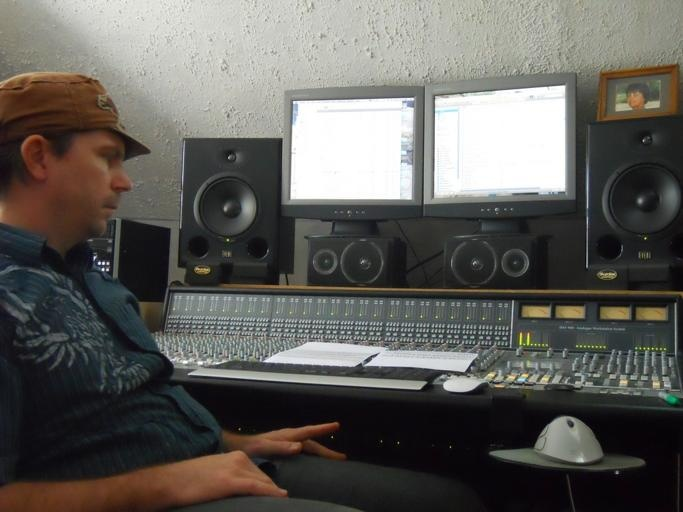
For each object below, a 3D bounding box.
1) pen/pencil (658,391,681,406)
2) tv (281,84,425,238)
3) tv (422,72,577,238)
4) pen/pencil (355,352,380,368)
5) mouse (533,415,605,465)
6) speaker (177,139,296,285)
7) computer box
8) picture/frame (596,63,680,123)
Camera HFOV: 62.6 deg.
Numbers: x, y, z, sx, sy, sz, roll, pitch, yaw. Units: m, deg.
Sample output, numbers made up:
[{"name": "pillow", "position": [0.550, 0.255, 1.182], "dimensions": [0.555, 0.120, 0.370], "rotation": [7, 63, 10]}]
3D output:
[{"name": "pen/pencil", "position": [0.595, 0.261, 1.022], "dimensions": [0.014, 0.010, 0.025], "rotation": [-18, 7, 1]}, {"name": "tv", "position": [0.037, -0.344, 1.952], "dimensions": [0.518, 0.533, 0.190], "rotation": [-1, -7, 10]}, {"name": "tv", "position": [0.516, -0.343, 1.839], "dimensions": [0.544, 0.566, 0.199], "rotation": [-1, -8, 18]}, {"name": "pen/pencil", "position": [0.062, 0.240, 1.312], "dimensions": [0.015, 0.010, 0.075], "rotation": [23, 18, 20]}, {"name": "mouse", "position": [0.419, 0.336, 1.051], "dimensions": [0.108, 0.071, 0.162], "rotation": [-5, -4, 4]}, {"name": "speaker", "position": [-0.397, -0.163, 2.042], "dimensions": [0.373, 0.495, 0.354], "rotation": [0, -3, 6]}, {"name": "computer box", "position": [-0.758, 0.029, 2.109], "dimensions": [0.213, 0.298, 0.163], "rotation": [3, 4, -28]}, {"name": "picture/frame", "position": [0.959, -0.522, 1.815], "dimensions": [0.272, 0.206, 0.030], "rotation": [-1, -14, 19]}]
